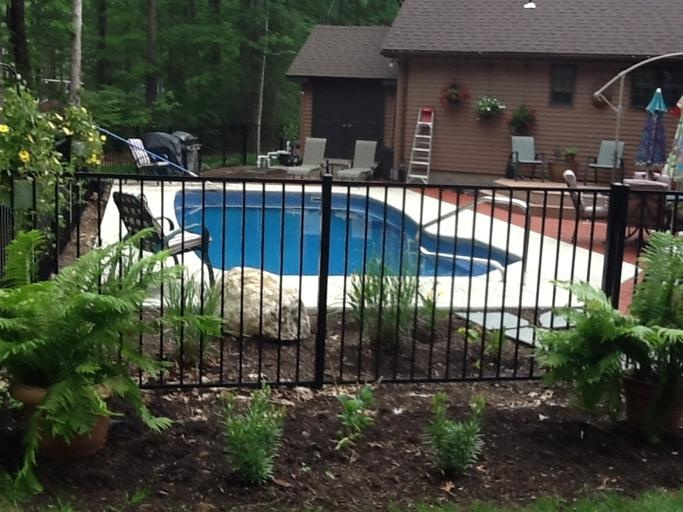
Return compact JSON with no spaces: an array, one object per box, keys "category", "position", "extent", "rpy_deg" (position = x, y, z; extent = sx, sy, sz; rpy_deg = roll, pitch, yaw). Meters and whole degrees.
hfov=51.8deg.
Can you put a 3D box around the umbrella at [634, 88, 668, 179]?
[{"category":"umbrella","position":[5.600,-2.227,12.554],"extent":[0.476,1.442,0.693],"rpy_deg":[8,15,23]}]

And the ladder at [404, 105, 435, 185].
[{"category":"ladder","position":[1.954,-2.735,17.510],"extent":[0.619,1.877,1.016],"rpy_deg":[3,14,5]}]
